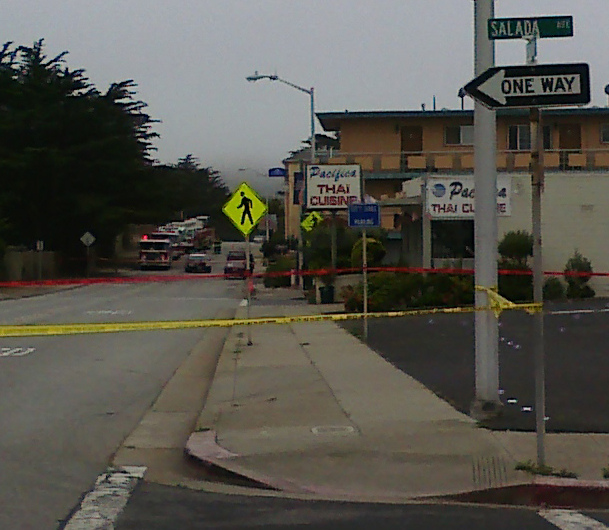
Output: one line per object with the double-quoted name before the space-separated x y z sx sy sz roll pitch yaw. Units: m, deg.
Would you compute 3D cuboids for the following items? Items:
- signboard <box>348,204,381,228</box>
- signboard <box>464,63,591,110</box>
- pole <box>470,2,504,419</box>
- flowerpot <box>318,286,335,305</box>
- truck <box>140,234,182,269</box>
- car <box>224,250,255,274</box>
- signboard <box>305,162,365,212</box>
"signboard" 1.458 -1.225 29.487 0.731 0.592 0.768 2 2 -1
"signboard" 3.454 -2.776 18.711 1.878 0.827 0.071 -1 -30 11
"pole" 3.245 -0.987 21.394 0.719 7.316 0.680 2 2 9
"flowerpot" 0.816 1.049 43.545 0.570 0.619 0.559 1 6 3
"truck" -10.617 -1.041 89.474 1.732 1.626 4.911 -3 -6 -2
"car" -4.132 -0.153 73.638 1.089 1.174 2.279 0 2 0
"signboard" 1.118 -2.784 44.226 2.121 1.780 1.252 0 -8 1
